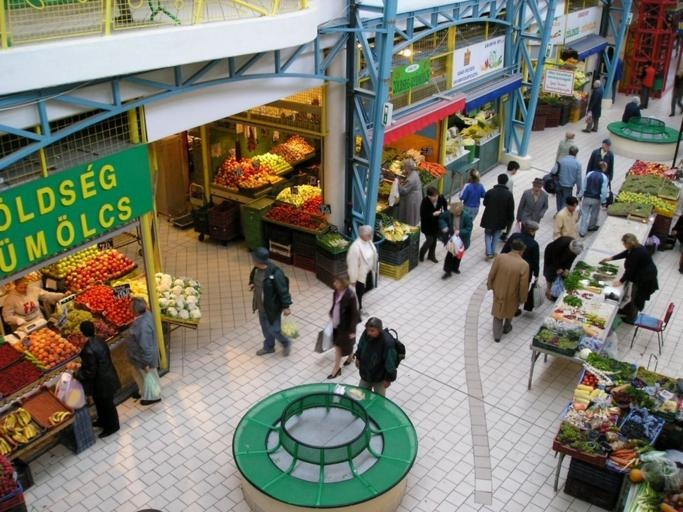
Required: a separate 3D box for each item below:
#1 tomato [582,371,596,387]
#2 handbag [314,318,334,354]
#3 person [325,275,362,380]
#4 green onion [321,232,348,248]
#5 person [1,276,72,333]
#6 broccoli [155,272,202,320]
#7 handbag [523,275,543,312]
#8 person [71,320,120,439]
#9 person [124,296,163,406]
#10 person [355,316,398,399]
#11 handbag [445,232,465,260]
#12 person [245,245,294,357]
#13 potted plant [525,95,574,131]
[{"bbox_3d":[3.545,1.772,7.699,0.163,0.052,0.161,13,53,45],"label":"tomato"},{"bbox_3d":[-0.314,1.383,9.147,0.209,0.511,0.516,20,34,20],"label":"handbag"},{"bbox_3d":[0.007,1.113,8.644,0.496,1.851,0.449,1,27,1],"label":"person"},{"bbox_3d":[-0.205,-0.305,10.920,0.416,0.145,0.321,32,50,33],"label":"green onion"},{"bbox_3d":[-4.881,0.739,8.419,0.912,0.879,0.677,-12,30,-43],"label":"person"},{"bbox_3d":[-2.801,0.723,9.232,0.764,0.259,0.788,-2,9,-18],"label":"broccoli"},{"bbox_3d":[3.577,0.725,10.101,0.217,0.556,0.514,9,40,21],"label":"handbag"},{"bbox_3d":[-3.564,1.823,7.701,0.597,1.749,0.687,18,39,1],"label":"person"},{"bbox_3d":[-3.015,1.440,8.107,0.449,1.906,0.389,-9,28,-17],"label":"person"},{"bbox_3d":[0.481,1.458,7.555,0.475,1.167,0.677,7,21,-25],"label":"person"},{"bbox_3d":[2.375,-0.225,11.324,0.206,0.414,0.401,-6,35,33],"label":"handbag"},{"bbox_3d":[-1.210,0.778,9.070,0.692,2.013,0.468,1,27,2],"label":"person"},{"bbox_3d":[7.738,-5.310,19.823,2.040,1.041,0.672,-22,35,-35],"label":"potted plant"}]
